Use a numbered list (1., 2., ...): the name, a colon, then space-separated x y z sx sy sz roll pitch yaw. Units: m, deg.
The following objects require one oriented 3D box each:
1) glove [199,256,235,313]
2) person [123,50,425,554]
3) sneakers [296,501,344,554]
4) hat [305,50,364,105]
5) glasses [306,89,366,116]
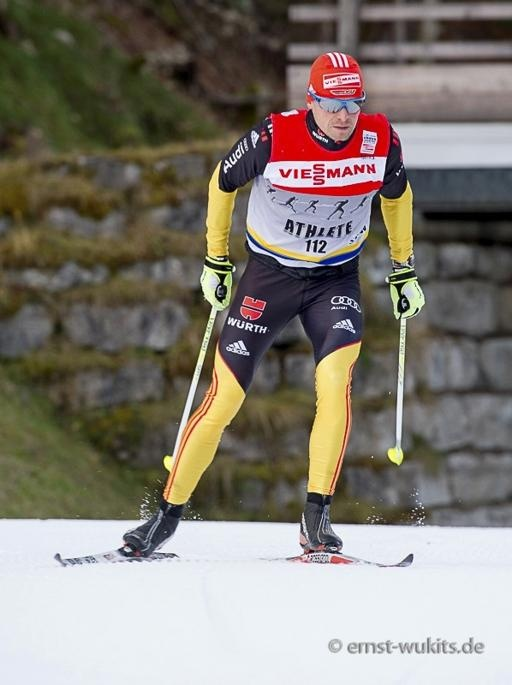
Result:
1. glove: -0.159 -0.240 3.474 0.175 0.187 0.092 5 11 8
2. person: 0.110 -0.158 3.272 0.917 1.763 0.993 2 14 15
3. sneakers: 0.224 0.646 3.076 0.138 0.195 0.265 -1 13 2
4. hat: 0.279 -0.913 3.041 0.198 0.153 0.218 1 2 -9
5. glasses: 0.263 -0.816 2.966 0.199 0.082 0.110 2 13 15
